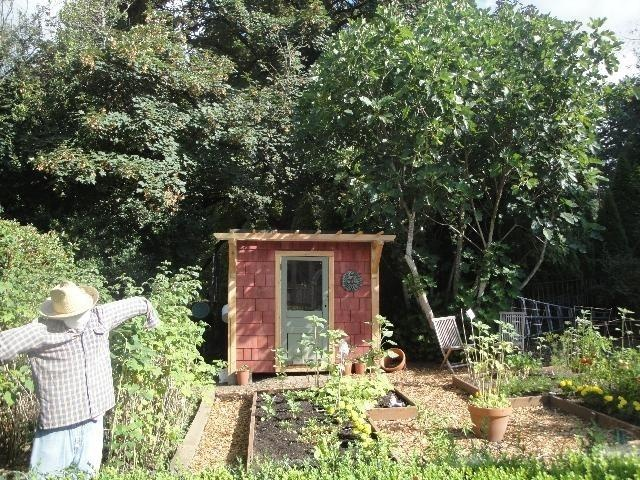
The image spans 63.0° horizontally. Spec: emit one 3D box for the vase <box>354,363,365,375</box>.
[{"bbox_3d":[0.794,2.509,10.240,0.219,0.234,0.240,6,-10,-17],"label":"vase"}]

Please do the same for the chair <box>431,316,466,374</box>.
[{"bbox_3d":[2.731,2.115,10.645,0.839,1.004,0.915,-5,-16,15],"label":"chair"}]

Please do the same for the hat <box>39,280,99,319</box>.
[{"bbox_3d":[-2.801,0.654,5.780,0.473,0.196,0.435,11,30,21],"label":"hat"}]

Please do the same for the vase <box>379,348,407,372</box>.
[{"bbox_3d":[1.431,2.368,10.220,0.273,0.609,0.600,23,-33,-31],"label":"vase"}]

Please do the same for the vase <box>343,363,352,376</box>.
[{"bbox_3d":[0.556,2.483,10.075,0.187,0.146,0.193,0,-7,0],"label":"vase"}]

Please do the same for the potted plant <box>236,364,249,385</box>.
[{"bbox_3d":[-1.440,2.566,9.883,0.281,0.232,0.297,-2,-17,0],"label":"potted plant"}]
